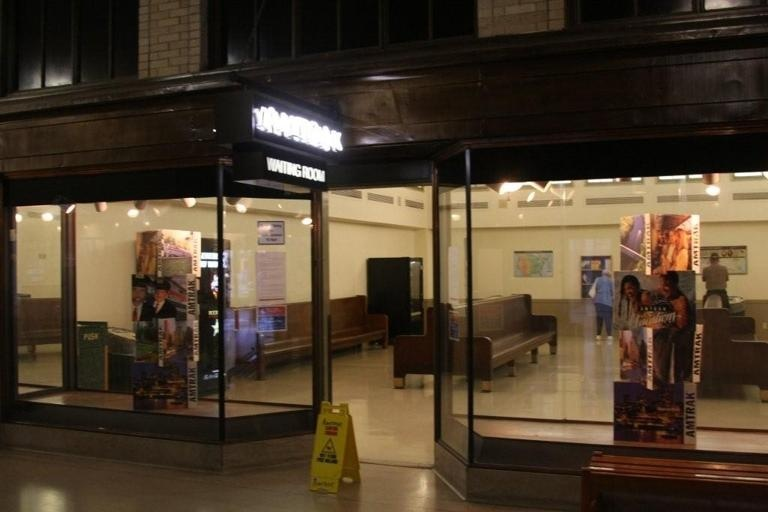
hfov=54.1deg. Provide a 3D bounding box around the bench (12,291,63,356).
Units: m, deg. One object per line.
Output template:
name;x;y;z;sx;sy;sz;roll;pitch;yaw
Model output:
bench;-4.679;0.917;9.921;0.791;0.972;0.751;2;-3;-20

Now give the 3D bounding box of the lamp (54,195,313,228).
lamp;-2.325;-0.564;9.288;3.583;0.377;0.382;1;-5;9

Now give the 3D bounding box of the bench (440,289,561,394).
bench;1.348;0.953;8.322;0.435;0.660;1.329;-3;-1;33

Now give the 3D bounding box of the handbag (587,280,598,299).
handbag;2.278;0.373;8.198;0.048;0.163;0.124;14;2;6

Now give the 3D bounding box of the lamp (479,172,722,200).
lamp;2.366;-0.747;8.165;2.426;0.238;0.069;0;-1;10

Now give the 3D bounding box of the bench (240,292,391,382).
bench;-0.875;1.024;10.150;2.269;0.714;0.633;-4;10;-44
